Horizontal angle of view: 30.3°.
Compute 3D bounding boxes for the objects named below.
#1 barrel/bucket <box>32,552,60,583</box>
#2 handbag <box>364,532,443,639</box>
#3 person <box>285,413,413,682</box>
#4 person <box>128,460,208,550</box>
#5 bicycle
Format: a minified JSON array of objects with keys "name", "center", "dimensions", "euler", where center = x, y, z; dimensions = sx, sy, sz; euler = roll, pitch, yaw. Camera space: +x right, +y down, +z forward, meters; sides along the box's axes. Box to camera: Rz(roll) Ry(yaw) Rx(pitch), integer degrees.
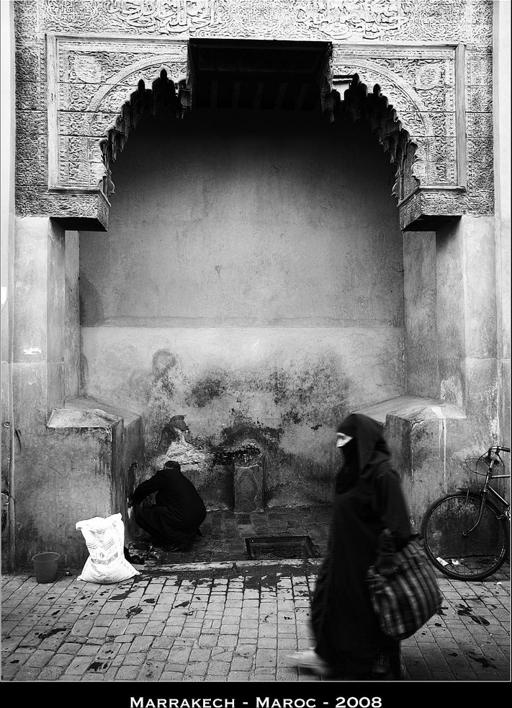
[{"name":"barrel/bucket","center":[-1.591,1.601,7.215],"dimensions":[0.171,0.173,0.184],"euler":[2,-4,0]},{"name":"handbag","center":[0.830,1.241,5.350],"dimensions":[0.375,0.635,0.244],"euler":[-7,-14,-25]},{"name":"person","center":[0.590,1.116,5.525],"dimensions":[0.584,1.601,0.592],"euler":[11,15,40]},{"name":"person","center":[-0.792,1.287,8.390],"dimensions":[0.557,0.903,0.582],"euler":[-8,-22,43]},{"name":"bicycle","center":[1.438,1.289,7.462],"dimensions":[1.084,0.991,0.554],"euler":[0,3,1]}]
